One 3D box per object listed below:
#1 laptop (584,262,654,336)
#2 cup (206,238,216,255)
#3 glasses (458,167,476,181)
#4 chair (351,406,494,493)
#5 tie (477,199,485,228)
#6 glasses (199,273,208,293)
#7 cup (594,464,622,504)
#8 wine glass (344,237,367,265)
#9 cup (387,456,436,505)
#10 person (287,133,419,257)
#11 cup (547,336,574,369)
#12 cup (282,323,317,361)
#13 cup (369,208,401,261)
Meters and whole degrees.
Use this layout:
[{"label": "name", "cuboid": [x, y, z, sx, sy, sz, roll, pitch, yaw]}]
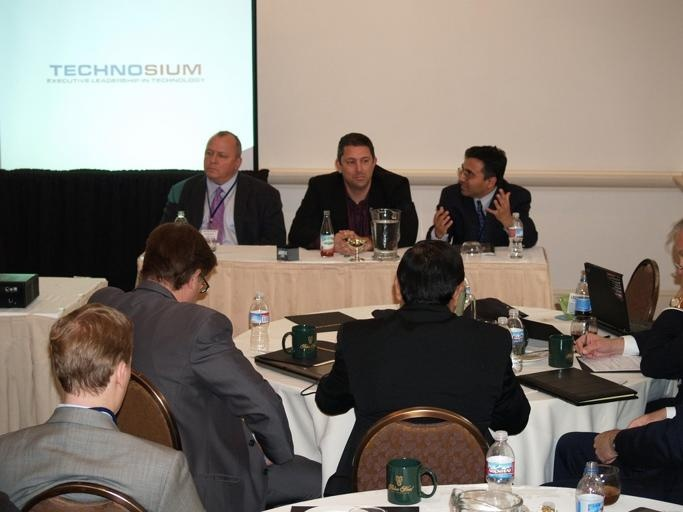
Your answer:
[{"label": "laptop", "cuboid": [1.440, 0.231, 2.932, 0.240, 0.236, 0.299, -7, 12, -24]}, {"label": "cup", "cuboid": [-0.678, -0.055, 2.941, 0.030, 0.093, 0.065, -22, 2, 11]}, {"label": "glasses", "cuboid": [0.936, -0.618, 4.228, 0.126, 0.106, 0.027, 3, 5, 45]}, {"label": "chair", "cuboid": [0.228, 0.493, 1.579, 0.322, 0.253, 0.211, 0, -1, 41]}, {"label": "tie", "cuboid": [1.055, -0.325, 4.308, 0.045, 0.241, 0.037, -6, -25, 3]}, {"label": "glasses", "cuboid": [-0.557, 0.114, 2.297, 0.026, 0.102, 0.090, -3, -6, -17]}, {"label": "cup", "cuboid": [0.668, 0.564, 1.425, 0.067, 0.077, 0.073, 0, 5, 0]}, {"label": "wine glass", "cuboid": [0.096, -0.041, 3.782, 0.127, 0.142, 0.135, -2, 7, -15]}, {"label": "cup", "cuboid": [0.167, 0.546, 1.402, 0.120, 0.103, 0.082, 1, 0, -10]}, {"label": "person", "cuboid": [0.076, -0.484, 4.527, 0.967, 1.694, 0.902, 0, -6, -2]}, {"label": "cup", "cuboid": [0.899, 0.392, 2.329, 0.128, 0.128, 0.084, -1, 0, 40]}, {"label": "cup", "cuboid": [-0.161, 0.352, 2.428, 0.160, 0.160, 0.102, -6, 11, -25]}, {"label": "cup", "cuboid": [0.287, -0.143, 3.831, 0.300, 0.429, 0.259, 0, 0, 2]}]
